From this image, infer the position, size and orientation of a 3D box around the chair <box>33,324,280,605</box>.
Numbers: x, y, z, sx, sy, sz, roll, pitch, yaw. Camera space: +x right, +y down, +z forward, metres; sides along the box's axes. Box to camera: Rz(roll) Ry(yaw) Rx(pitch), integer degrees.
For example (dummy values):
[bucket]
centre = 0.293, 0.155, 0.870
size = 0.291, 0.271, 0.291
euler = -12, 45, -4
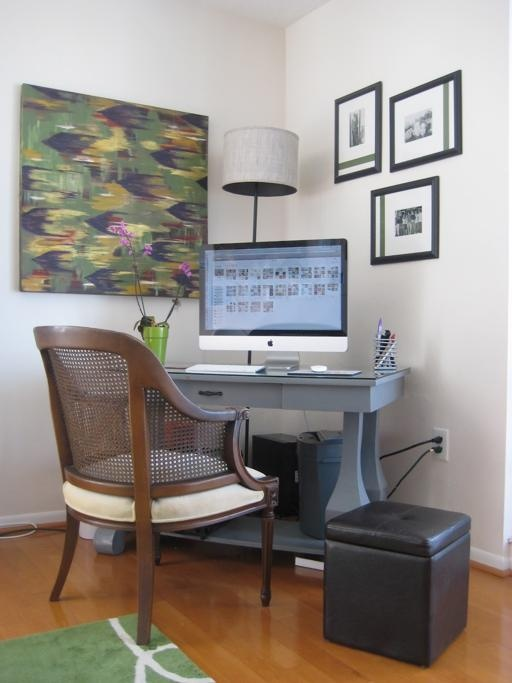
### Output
[chair]
centre = -0.262, 0.363, 1.597
size = 0.607, 0.760, 0.619
euler = 0, -2, 15

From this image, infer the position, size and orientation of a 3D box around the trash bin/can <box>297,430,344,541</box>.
[trash bin/can]
centre = 0.243, 0.539, 2.099
size = 0.170, 0.276, 0.169
euler = -11, -13, 43

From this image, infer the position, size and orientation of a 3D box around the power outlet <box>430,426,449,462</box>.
[power outlet]
centre = 0.697, 0.391, 2.108
size = 0.016, 0.123, 0.080
euler = 2, -3, -20

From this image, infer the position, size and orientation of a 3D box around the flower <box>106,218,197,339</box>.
[flower]
centre = -0.479, -0.263, 2.585
size = 0.395, 0.633, 0.270
euler = 0, 29, -2

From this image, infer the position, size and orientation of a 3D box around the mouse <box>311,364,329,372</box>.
[mouse]
centre = 0.219, 0.096, 1.882
size = 0.046, 0.015, 0.038
euler = 3, -2, -35

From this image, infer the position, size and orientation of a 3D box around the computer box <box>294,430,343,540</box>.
[computer box]
centre = 0.240, 0.541, 2.105
size = 0.185, 0.294, 0.186
euler = 1, -7, -17

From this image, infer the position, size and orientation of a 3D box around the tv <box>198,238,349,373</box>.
[tv]
centre = 0.070, -0.166, 2.167
size = 0.604, 0.458, 0.160
euler = 1, 2, 8

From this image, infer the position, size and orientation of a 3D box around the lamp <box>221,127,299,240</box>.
[lamp]
centre = 0.019, -0.688, 2.531
size = 0.334, 0.450, 0.361
euler = 1, -3, 1

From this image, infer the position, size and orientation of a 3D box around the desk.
[desk]
centre = -0.045, 0.421, 2.156
size = 1.029, 0.719, 0.616
euler = 1, 11, 16

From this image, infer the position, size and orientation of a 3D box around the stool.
[stool]
centre = 0.362, 0.601, 1.425
size = 0.369, 0.295, 0.370
euler = 1, -4, -24
